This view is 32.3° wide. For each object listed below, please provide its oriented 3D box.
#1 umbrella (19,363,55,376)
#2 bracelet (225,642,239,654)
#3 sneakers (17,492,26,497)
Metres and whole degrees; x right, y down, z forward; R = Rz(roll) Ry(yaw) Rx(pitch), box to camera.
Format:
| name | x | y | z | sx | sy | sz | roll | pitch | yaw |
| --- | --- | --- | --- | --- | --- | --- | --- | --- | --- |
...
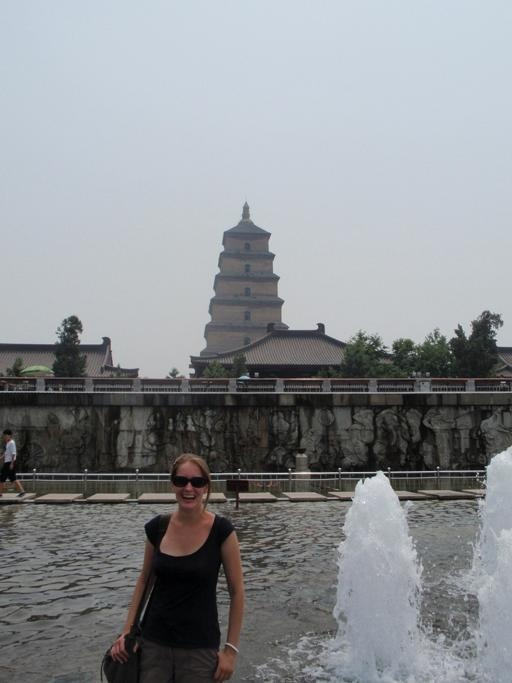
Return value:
| name | x | y | z | sx | sy | sz | roll | pitch | yaw |
| --- | --- | --- | --- | --- | --- | --- | --- | --- | --- |
| umbrella | -8.585 | 1.175 | 34.766 | 0.775 | 0.589 | 2.474 | 4 | -8 | -22 |
| bracelet | -0.137 | 1.619 | 4.681 | 0.057 | 0.059 | 0.141 | 1 | -7 | -2 |
| sneakers | -4.389 | 2.862 | 16.468 | 0.092 | 0.099 | 0.244 | 7 | -11 | -41 |
